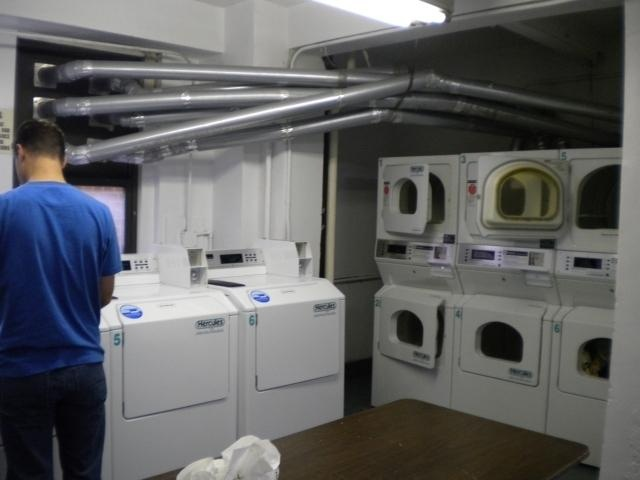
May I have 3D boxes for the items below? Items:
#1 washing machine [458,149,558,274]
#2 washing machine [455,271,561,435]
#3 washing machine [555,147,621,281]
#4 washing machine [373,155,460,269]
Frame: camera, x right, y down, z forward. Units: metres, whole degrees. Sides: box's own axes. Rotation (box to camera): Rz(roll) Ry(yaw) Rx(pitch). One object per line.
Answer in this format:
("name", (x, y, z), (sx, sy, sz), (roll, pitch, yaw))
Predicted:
("washing machine", (1.609, -0.210, 4.276), (0.822, 1.140, 0.844), (-1, -3, 38))
("washing machine", (1.542, 0.959, 4.232), (0.790, 1.048, 0.650), (7, 10, 36))
("washing machine", (2.358, -0.294, 4.367), (0.398, 0.944, 1.765), (3, 9, 30))
("washing machine", (0.945, -0.297, 4.624), (0.814, 0.933, 0.628), (4, 6, 35))
